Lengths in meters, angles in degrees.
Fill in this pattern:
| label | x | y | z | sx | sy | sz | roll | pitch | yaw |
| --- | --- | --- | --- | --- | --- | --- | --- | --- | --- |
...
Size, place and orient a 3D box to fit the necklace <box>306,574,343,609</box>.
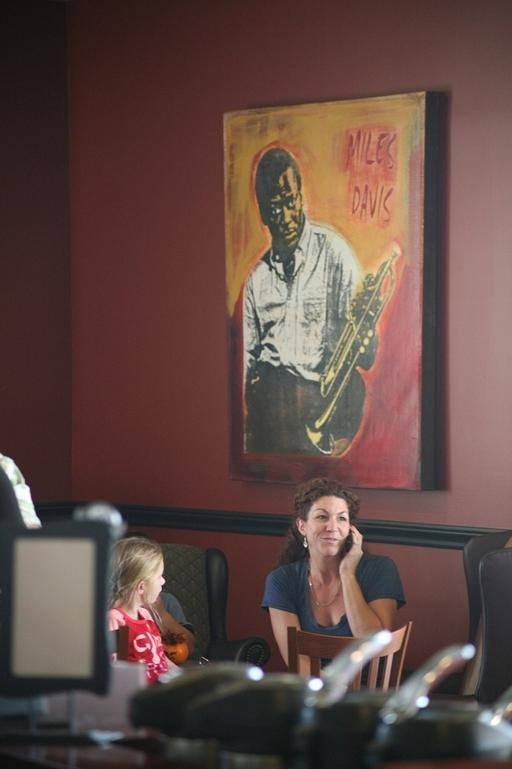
| label | x | y | z | sx | sy | sz | roll | pitch | yaw |
| --- | --- | --- | --- | --- | --- | --- | --- | --- | --- |
| necklace | 0.199 | 0.600 | 2.407 | 0.103 | 0.091 | 0.024 | -3 | -11 | 17 |
